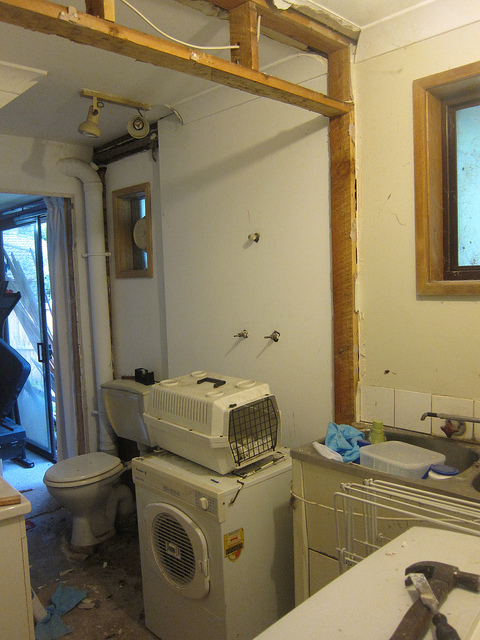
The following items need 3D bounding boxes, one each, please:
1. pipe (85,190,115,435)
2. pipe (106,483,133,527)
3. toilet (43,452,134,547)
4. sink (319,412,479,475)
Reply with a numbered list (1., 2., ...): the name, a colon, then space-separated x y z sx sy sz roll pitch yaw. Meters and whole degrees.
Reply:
1. pipe: -0.951 -0.053 3.679 0.128 1.646 0.213 -4 5 -13
2. pipe: -0.713 1.096 3.214 0.189 0.176 0.107 6 -15 -5
3. toilet: -0.859 1.039 3.110 0.518 0.424 0.350 -6 2 -45
4. sink: 0.629 0.397 1.915 0.350 0.163 0.228 -2 -3 31
